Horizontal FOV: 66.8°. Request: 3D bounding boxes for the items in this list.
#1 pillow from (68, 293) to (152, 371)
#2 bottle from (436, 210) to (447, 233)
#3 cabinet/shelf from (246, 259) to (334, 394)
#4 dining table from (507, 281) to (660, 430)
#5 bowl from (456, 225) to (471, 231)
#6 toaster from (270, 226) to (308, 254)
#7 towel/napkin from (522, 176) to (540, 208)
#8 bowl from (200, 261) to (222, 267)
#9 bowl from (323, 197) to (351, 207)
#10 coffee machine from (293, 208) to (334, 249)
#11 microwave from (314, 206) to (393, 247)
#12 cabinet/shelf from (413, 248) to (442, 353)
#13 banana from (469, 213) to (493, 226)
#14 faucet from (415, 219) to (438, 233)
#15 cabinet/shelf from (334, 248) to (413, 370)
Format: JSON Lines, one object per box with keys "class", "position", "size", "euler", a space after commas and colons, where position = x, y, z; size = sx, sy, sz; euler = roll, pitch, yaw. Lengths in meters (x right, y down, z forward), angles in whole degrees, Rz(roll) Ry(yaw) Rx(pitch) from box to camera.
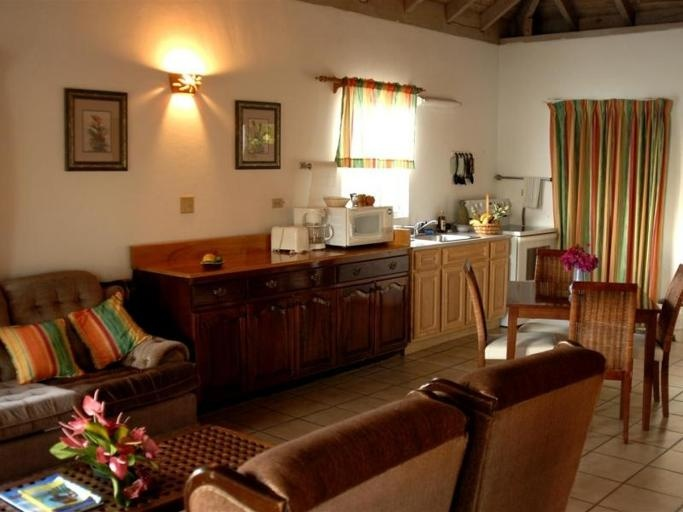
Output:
{"class": "pillow", "position": [-1.549, 0.500, 3.429], "size": [0.126, 0.426, 0.424], "euler": [-30, 6, 42]}
{"class": "bottle", "position": [1.213, -0.407, 6.276], "size": [0.112, 0.234, 0.304], "euler": [-1, 8, 11]}
{"class": "cabinet/shelf", "position": [-0.440, 0.540, 4.145], "size": [0.386, 0.961, 1.026], "euler": [1, 4, 41]}
{"class": "dining table", "position": [1.770, 0.542, 3.920], "size": [0.957, 1.257, 1.329], "euler": [1, 4, 24]}
{"class": "bowl", "position": [1.494, -0.343, 6.344], "size": [0.210, 0.090, 0.120], "euler": [-10, 10, -42]}
{"class": "toaster", "position": [-0.468, -0.148, 4.573], "size": [0.300, 0.232, 0.225], "euler": [6, 13, 36]}
{"class": "towel/napkin", "position": [2.501, -0.824, 6.810], "size": [0.216, 0.418, 0.107], "euler": [1, 9, 28]}
{"class": "bowl", "position": [-0.975, 0.058, 3.894], "size": [0.152, 0.047, 0.148], "euler": [-3, 8, 0]}
{"class": "bowl", "position": [-0.057, -0.508, 4.909], "size": [0.224, 0.099, 0.263], "euler": [-3, 8, -1]}
{"class": "coffee machine", "position": [-0.247, -0.268, 4.760], "size": [0.423, 0.446, 0.256], "euler": [3, 6, 27]}
{"class": "microwave", "position": [0.174, -0.276, 4.836], "size": [0.387, 0.353, 0.562], "euler": [2, 6, 43]}
{"class": "cabinet/shelf", "position": [0.853, 0.403, 5.298], "size": [0.131, 0.964, 0.456], "euler": [4, 10, 42]}
{"class": "banana", "position": [1.664, -0.468, 6.137], "size": [0.224, 0.089, 0.229], "euler": [-15, 18, 33]}
{"class": "faucet", "position": [0.994, -0.351, 6.135], "size": [0.129, 0.197, 0.447], "euler": [8, 12, 40]}
{"class": "cabinet/shelf", "position": [0.261, 0.464, 4.747], "size": [0.540, 1.044, 1.059], "euler": [1, 3, 42]}
